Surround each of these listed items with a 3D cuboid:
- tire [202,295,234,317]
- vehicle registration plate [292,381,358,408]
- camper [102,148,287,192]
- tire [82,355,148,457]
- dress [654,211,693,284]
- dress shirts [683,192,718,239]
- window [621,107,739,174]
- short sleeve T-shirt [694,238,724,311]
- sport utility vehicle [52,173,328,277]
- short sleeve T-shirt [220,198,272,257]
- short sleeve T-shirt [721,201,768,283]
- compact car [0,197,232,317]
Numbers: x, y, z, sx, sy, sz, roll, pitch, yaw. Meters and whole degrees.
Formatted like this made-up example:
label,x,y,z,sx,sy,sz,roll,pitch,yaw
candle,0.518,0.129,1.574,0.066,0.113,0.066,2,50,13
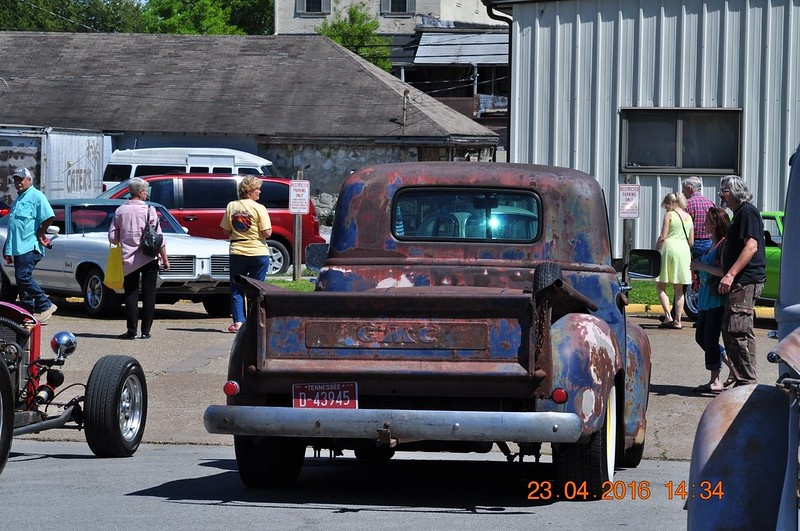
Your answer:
label,x,y,z,sx,sy,sz,roll,pitch,yaw
tire,-3.216,0.711,28.847,0.163,0.440,0.414,-5,7,-44
vehicle registration plate,-0.911,1.560,19.529,0.792,0.297,0.067,-1,5,3
camper,-5.131,-2.459,38.830,3.192,1.693,1.859,-1,5,3
tire,-3.697,1.884,21.127,0.338,0.934,1.001,0,-26,17
dress,4.621,-0.316,27.429,0.528,1.645,0.627,2,12,-3
dress shirts,4.871,-0.792,26.727,0.749,0.724,0.256,-1,12,12
window,5.346,-2.354,31.347,2.260,1.348,0.157,2,-2,16
short sleeve T-shirt,4.493,0.196,23.612,0.398,0.929,0.517,-2,-4,18
sport utility vehicle,-4.147,-1.284,33.674,5.423,2.225,2.425,3,27,6
short sleeve T-shirt,-2.483,-0.620,26.182,0.849,0.912,0.502,1,7,10
short sleeve T-shirt,4.968,-0.338,23.541,0.833,1.624,1.445,1,2,13
compact car,-4.886,-0.180,28.361,4.040,1.324,1.954,0,1,42
